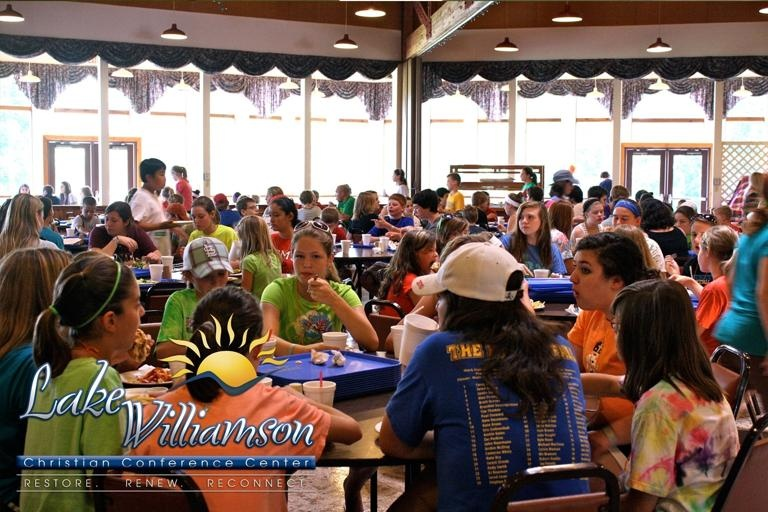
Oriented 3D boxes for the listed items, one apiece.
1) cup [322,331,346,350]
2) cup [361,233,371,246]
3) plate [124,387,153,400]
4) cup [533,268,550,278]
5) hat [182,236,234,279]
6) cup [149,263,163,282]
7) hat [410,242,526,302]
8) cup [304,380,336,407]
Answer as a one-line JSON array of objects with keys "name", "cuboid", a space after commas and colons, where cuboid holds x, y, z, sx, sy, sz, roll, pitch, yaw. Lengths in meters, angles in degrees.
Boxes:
[{"name": "cup", "cuboid": [-0.234, 0.401, 3.079, 0.087, 0.064, 0.089, 0, 0, 0]}, {"name": "cup", "cuboid": [-0.199, -0.193, 7.843, 0.125, 0.128, 0.125, 0, -5, 0]}, {"name": "plate", "cuboid": [-0.911, 0.514, 2.408, 0.080, 0.020, 0.079, 4, 2, -3]}, {"name": "cup", "cuboid": [1.209, 0.133, 5.011, 0.086, 0.060, 0.088, 0, 0, 0]}, {"name": "hat", "cuboid": [-0.910, 0.009, 3.374, 0.186, 0.146, 0.257, -1, 3, -30]}, {"name": "cup", "cuboid": [-1.831, 0.138, 5.243, 0.129, 0.135, 0.127, 0, -1, 0]}, {"name": "hat", "cuboid": [0.299, 0.086, 2.320, 0.348, 0.176, 0.220, 9, 18, 14]}, {"name": "cup", "cuboid": [-0.243, 0.511, 2.472, 0.105, 0.075, 0.102, 0, 4, 0]}]
